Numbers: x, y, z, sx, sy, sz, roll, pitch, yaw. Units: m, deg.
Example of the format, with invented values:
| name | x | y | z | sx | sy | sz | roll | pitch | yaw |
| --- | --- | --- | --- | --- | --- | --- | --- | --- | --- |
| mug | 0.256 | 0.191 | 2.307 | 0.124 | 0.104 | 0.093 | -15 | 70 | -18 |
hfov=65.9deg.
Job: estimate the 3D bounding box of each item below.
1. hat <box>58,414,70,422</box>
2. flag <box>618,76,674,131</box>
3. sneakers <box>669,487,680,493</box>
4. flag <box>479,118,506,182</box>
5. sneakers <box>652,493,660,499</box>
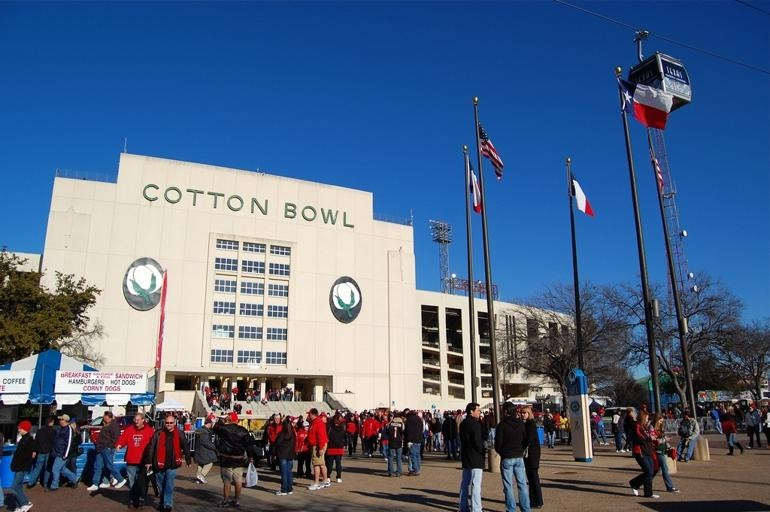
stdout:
| name | x | y | z | sx | sy | sz | roll | pitch | yaw |
| --- | --- | --- | --- | --- | --- | --- | --- | --- | --- |
| hat | -11.696 | 5.968 | 21.524 | 0.357 | 0.202 | 0.275 | 18 | -1 | 32 |
| flag | 11.248 | -6.582 | 25.419 | 1.752 | 2.689 | 0.954 | 2 | -16 | -9 |
| sneakers | 9.456 | 7.632 | 19.236 | 0.402 | 0.188 | 0.140 | 3 | -10 | -16 |
| flag | 4.839 | -4.541 | 26.930 | 0.900 | 2.889 | 1.778 | -4 | -17 | 11 |
| sneakers | 8.512 | 7.604 | 18.622 | 0.095 | 0.121 | 0.292 | 3 | -16 | -26 |
